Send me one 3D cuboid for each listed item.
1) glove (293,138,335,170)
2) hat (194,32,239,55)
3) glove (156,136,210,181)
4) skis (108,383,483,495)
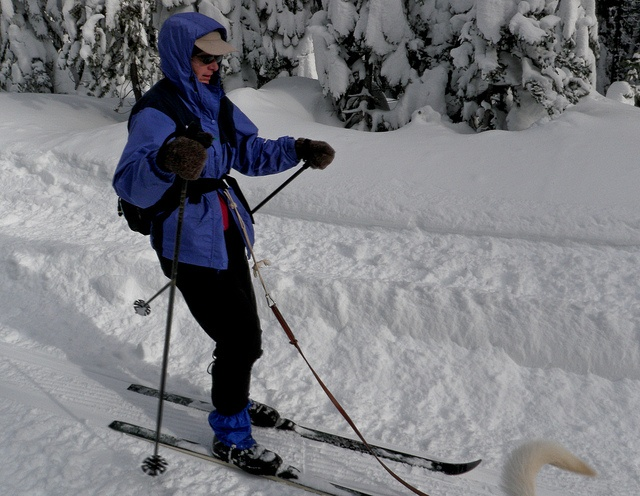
[{"bbox_3d":[-0.046,-0.837,5.880,0.318,0.236,0.154,27,-6,13],"label":"glove"},{"bbox_3d":[-0.820,-1.651,5.365,0.250,0.194,0.315,15,27,31],"label":"hat"},{"bbox_3d":[-1.005,-0.653,5.109,0.338,0.348,0.316,1,65,14],"label":"glove"},{"bbox_3d":[-0.264,1.719,5.823,2.641,0.247,0.201,15,27,12],"label":"skis"}]
